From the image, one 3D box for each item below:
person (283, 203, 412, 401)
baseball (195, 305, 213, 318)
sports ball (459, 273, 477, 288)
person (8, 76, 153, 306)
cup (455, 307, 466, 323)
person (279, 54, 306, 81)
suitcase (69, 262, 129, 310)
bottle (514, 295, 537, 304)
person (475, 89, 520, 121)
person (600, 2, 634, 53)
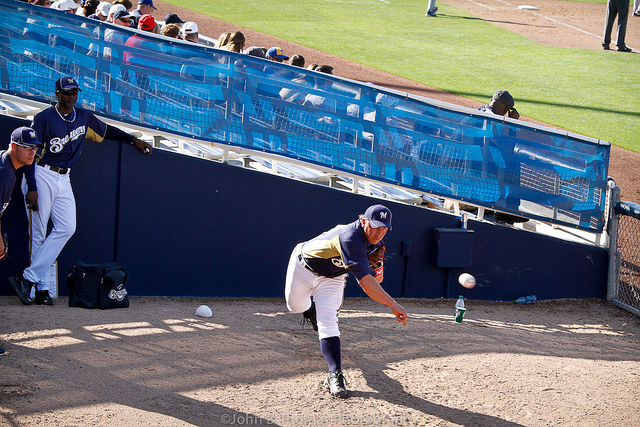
[{"bbox_3d":[0.188,0.879,8.731,1.204,1.958,0.543,6,6,40],"label":"person"},{"bbox_3d":[-1.350,1.131,9.746,0.223,0.120,0.198,1,4,-19],"label":"baseball"},{"bbox_3d":[1.883,0.859,10.552,0.186,0.094,0.181,28,3,-2],"label":"sports ball"},{"bbox_3d":[-2.921,-0.229,9.569,1.153,2.577,0.330,1,5,-18],"label":"person"},{"bbox_3d":[1.723,1.211,10.110,0.188,0.152,0.169,4,10,-8],"label":"cup"},{"bbox_3d":[-0.351,-1.920,11.102,0.445,0.189,0.758,3,26,11],"label":"person"},{"bbox_3d":[-2.622,0.795,9.971,0.732,0.526,0.802,2,7,-8],"label":"suitcase"},{"bbox_3d":[2.728,1.138,11.136,0.338,0.093,0.096,-4,-9,-10],"label":"bottle"},{"bbox_3d":[2.431,-1.476,11.337,0.475,0.421,0.772,3,4,12],"label":"person"},{"bbox_3d":[7.673,-4.702,21.635,0.813,1.027,2.593,4,4,17],"label":"person"}]
